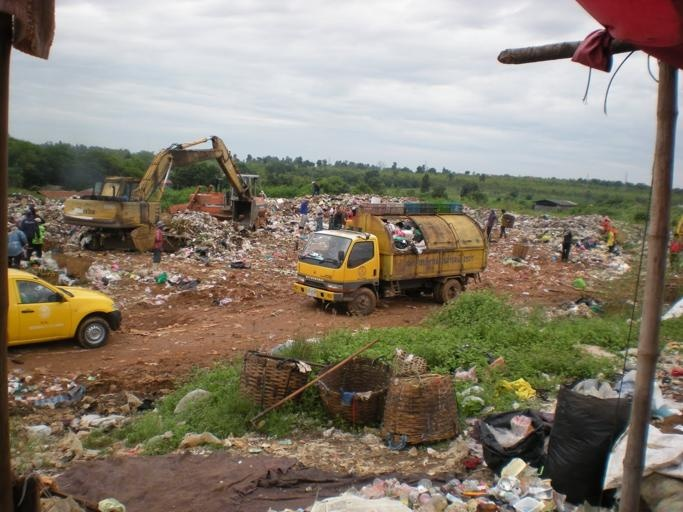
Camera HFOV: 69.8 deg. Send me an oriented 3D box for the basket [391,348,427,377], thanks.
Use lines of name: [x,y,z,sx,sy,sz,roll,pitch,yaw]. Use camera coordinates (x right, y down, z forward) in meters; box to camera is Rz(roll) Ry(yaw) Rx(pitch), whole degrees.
basket: [1.010,1.572,7.168,0.464,0.275,0.549,4,4,12]

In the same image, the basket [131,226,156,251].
basket: [-7.771,-0.719,19.209,1.198,0.969,0.469,7,-4,-35]

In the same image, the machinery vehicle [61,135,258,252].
machinery vehicle: [-7.357,-2.699,20.843,8.106,3.603,3.792,-10,27,-36]

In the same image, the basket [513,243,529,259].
basket: [8.496,-0.252,23.347,1.114,0.634,0.854,0,9,7]

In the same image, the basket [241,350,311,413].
basket: [-0.956,1.944,7.751,1.066,0.646,0.819,10,-4,34]

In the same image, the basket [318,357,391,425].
basket: [0.268,2.063,7.524,1.070,0.802,0.882,1,5,-36]

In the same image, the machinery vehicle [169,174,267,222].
machinery vehicle: [-7.553,-3.017,28.298,6.187,2.788,3.908,-2,10,-8]

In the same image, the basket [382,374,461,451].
basket: [1.110,2.093,6.616,0.992,0.848,0.421,3,5,-7]

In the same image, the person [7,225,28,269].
person: [-9.720,-0.216,14.632,0.395,1.127,0.998,2,5,-30]
